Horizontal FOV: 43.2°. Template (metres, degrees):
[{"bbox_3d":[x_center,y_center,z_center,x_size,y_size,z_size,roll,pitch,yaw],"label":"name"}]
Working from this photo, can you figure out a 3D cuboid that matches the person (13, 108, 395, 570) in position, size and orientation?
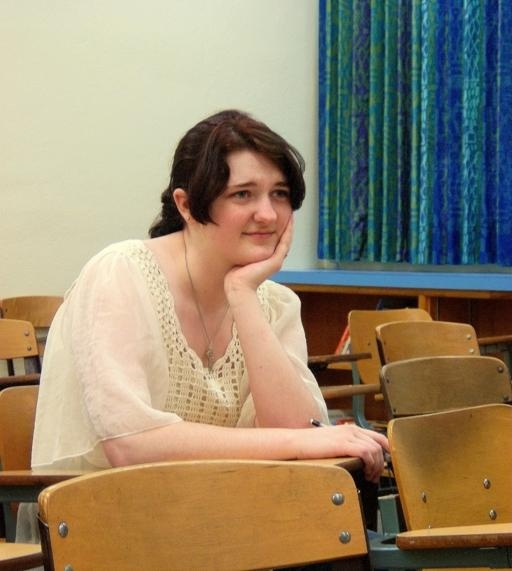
[{"bbox_3d":[-0.068,0.113,1.154,0.665,0.820,0.512,-1,-9,38],"label":"person"}]
